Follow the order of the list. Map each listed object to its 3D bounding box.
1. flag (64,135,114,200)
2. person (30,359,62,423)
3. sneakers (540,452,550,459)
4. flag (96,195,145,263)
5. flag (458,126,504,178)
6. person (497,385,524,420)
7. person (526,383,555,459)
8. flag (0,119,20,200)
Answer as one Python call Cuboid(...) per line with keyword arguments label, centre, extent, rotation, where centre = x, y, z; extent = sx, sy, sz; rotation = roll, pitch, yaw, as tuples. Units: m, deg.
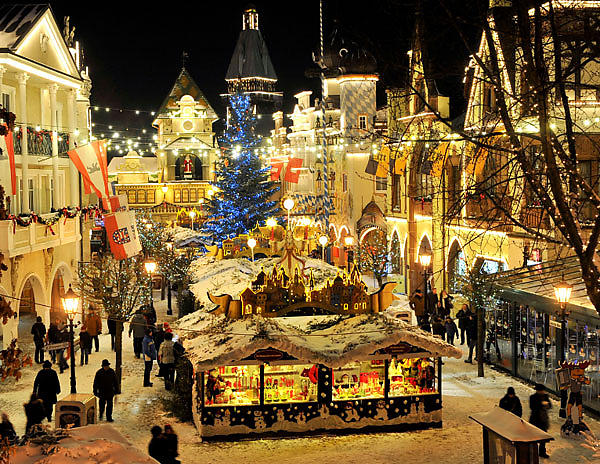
Cuboid(label="flag", centre=(-6.964, -2.098, 30.385), extent=(0.858, 1.498, 1.856), rotation=(-1, 1, 6))
Cuboid(label="person", centre=(-6.074, 3.810, 21.886), extent=(0.612, 1.376, 0.406), rotation=(3, 18, -12))
Cuboid(label="sneakers", centre=(5.293, 4.820, 19.556), extent=(0.214, 0.120, 0.118), rotation=(-2, 1, -16))
Cuboid(label="flag", centre=(-5.519, -0.104, 28.130), extent=(1.093, 1.472, 1.901), rotation=(-2, 1, -12))
Cuboid(label="flag", centre=(5.989, -2.424, 29.429), extent=(1.452, 1.968, 1.614), rotation=(6, 5, 10))
Cuboid(label="person", centre=(4.549, 3.670, 19.600), extent=(0.425, 0.575, 1.144), rotation=(-1, 1, 10))
Cuboid(label="person", centre=(5.266, 4.121, 19.887), extent=(0.450, 1.504, 1.965), rotation=(-1, 1, 14))
Cuboid(label="flag", centre=(-9.140, -2.127, 28.700), extent=(0.364, 1.795, 5.324), rotation=(-2, 1, -17))
